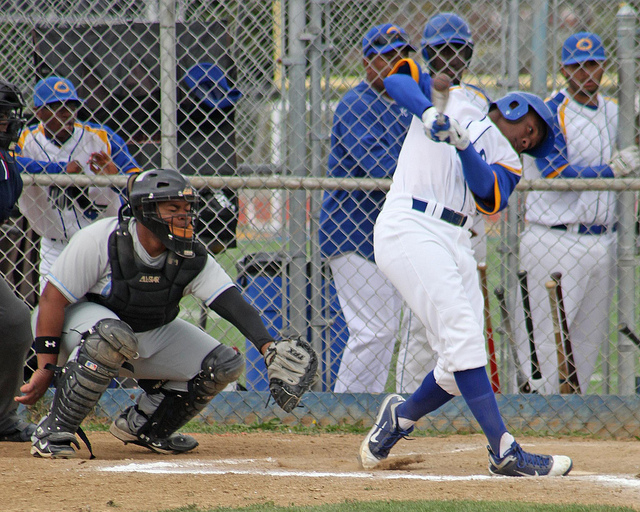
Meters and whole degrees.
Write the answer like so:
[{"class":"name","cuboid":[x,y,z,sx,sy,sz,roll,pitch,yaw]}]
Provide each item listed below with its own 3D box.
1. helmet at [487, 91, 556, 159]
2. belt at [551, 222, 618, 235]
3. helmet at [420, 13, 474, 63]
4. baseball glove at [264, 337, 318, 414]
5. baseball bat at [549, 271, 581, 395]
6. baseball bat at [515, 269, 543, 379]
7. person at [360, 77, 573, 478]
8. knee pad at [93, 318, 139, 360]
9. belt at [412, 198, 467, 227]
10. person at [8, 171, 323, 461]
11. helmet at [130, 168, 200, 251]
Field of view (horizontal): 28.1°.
[{"class":"helmet","cuboid":[1.004,-0.646,6.442,0.321,0.321,0.233,0,5,-1]},{"class":"belt","cuboid":[1.571,-0.152,7.728,0.208,0.071,0.144,-1,1,1]},{"class":"helmet","cuboid":[0.776,-1.345,7.721,0.337,0.228,0.455,-3,2,10]},{"class":"baseball glove","cuboid":[-0.151,0.575,6.635,0.233,0.417,0.172,10,-35,24]},{"class":"baseball bat","cuboid":[1.406,0.493,7.575,0.100,0.718,0.101,-1,-6,-23]},{"class":"baseball bat","cuboid":[1.260,0.435,7.767,0.112,0.676,0.141,2,-11,-44]},{"class":"person","cuboid":[0.681,0.112,6.325,0.941,1.944,0.494,1,6,2]},{"class":"knee pad","cuboid":[-1.013,0.445,6.409,0.075,0.226,0.157,-33,19,40]},{"class":"belt","cuboid":[0.594,-0.199,6.300,0.153,0.038,0.158,20,1,-41]},{"class":"person","cuboid":[-0.714,0.308,6.555,1.629,1.380,1.115,4,-1,11]},{"class":"helmet","cuboid":[-0.802,-0.248,6.566,0.400,0.403,0.345,5,9,33]}]
